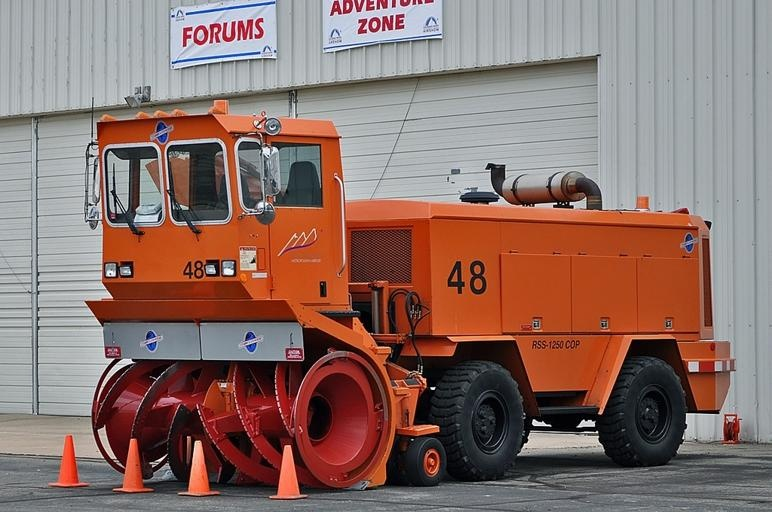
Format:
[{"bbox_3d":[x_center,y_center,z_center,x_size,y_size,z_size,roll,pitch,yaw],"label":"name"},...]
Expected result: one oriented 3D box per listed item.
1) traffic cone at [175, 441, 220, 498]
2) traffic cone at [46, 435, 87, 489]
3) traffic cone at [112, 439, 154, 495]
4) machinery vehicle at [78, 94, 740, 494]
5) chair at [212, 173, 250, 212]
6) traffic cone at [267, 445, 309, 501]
[{"bbox_3d":[-2.652,3.083,16.651,0.645,0.991,0.679,-5,-7,28],"label":"traffic cone"},{"bbox_3d":[-4.730,3.101,17.195,0.532,0.751,0.533,6,-13,-44],"label":"traffic cone"},{"bbox_3d":[-3.651,3.021,16.635,0.560,0.810,0.409,-2,0,20],"label":"traffic cone"},{"bbox_3d":[0.183,0.934,19.069,9.049,5.612,5.273,2,-3,-37],"label":"machinery vehicle"},{"bbox_3d":[-2.235,-0.869,16.529,0.484,0.906,0.436,0,-10,-9],"label":"chair"},{"bbox_3d":[-1.376,3.052,16.039,0.559,0.732,0.540,-3,-5,7],"label":"traffic cone"}]
